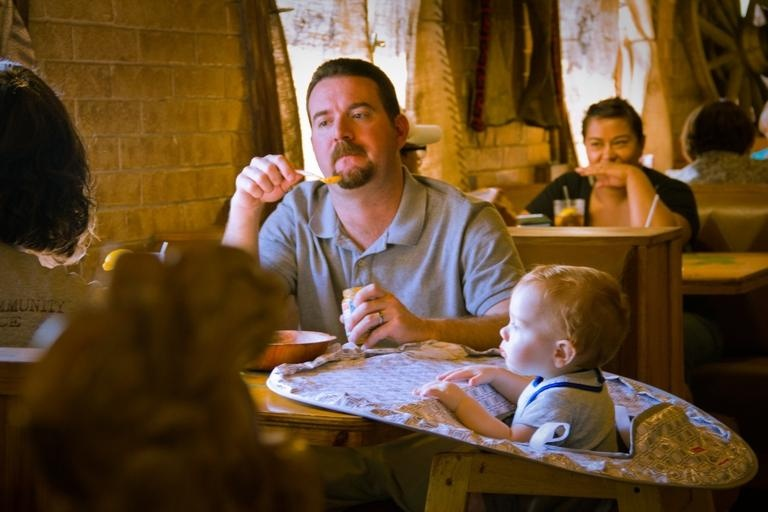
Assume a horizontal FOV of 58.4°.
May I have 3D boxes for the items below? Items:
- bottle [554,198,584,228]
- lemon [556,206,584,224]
[{"bbox_3d":[0.753,-0.174,2.816,0.126,0.124,0.129,0,0,1],"label":"bottle"},{"bbox_3d":[0.755,-0.162,2.796,0.083,0.056,0.079,0,-1,2],"label":"lemon"}]
